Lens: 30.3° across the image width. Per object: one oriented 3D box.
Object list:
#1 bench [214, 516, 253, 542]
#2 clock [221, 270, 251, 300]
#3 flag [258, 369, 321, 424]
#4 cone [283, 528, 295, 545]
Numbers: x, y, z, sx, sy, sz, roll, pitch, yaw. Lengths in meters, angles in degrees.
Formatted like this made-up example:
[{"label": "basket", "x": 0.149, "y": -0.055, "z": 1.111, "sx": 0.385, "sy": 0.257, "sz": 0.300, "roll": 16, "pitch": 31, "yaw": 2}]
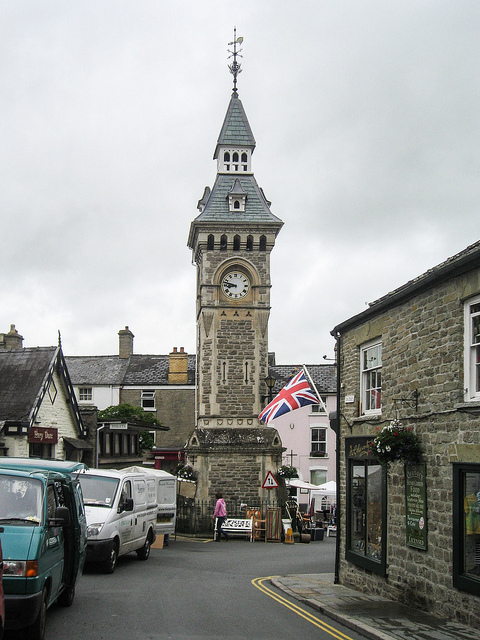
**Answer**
[{"label": "bench", "x": -0.071, "y": 7.578, "z": 32.418, "sx": 1.100, "sy": 0.855, "sz": 0.799, "roll": 0, "pitch": -14, "yaw": -2}, {"label": "clock", "x": -0.197, "y": -1.540, "z": 39.723, "sx": 0.949, "sy": 1.326, "sz": 0.087, "roll": 2, "pitch": -19, "yaw": -9}, {"label": "flag", "x": 1.762, "y": 2.457, "z": 28.461, "sx": 1.198, "sy": 2.237, "sz": 1.208, "roll": 3, "pitch": -8, "yaw": -45}, {"label": "cone", "x": 1.807, "y": 7.799, "z": 32.180, "sx": 0.327, "sy": 0.640, "sz": 0.418, "roll": 0, "pitch": -6, "yaw": 7}]
